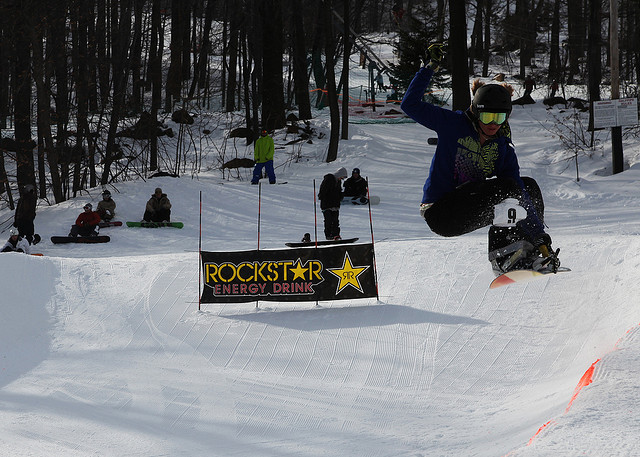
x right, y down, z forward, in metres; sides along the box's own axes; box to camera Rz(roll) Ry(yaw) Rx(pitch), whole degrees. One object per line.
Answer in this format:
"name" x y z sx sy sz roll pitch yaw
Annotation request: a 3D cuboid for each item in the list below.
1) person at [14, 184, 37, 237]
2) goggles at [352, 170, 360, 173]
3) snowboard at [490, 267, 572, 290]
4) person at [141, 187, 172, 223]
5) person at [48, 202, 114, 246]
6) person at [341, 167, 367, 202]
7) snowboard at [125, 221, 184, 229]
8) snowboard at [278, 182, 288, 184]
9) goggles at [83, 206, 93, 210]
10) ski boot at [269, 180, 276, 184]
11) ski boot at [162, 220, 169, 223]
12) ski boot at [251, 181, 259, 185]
"person" -8.316 -0.494 24.202 0.596 1.320 1.004 -5 10 -16
"goggles" 1.125 -1.786 27.031 0.175 0.134 0.177 0 13 -16
"snowboard" 3.858 0.865 15.679 1.576 0.235 0.528 1 -19 1
"person" -4.845 -0.566 25.836 0.873 1.408 0.978 0 -35 -2
"person" -6.770 -0.172 24.952 2.634 1.069 0.810 -5 -4 38
"person" 1.162 -1.364 27.434 1.013 1.286 0.914 4 18 12
"snowboard" -4.895 -0.088 25.488 1.665 0.254 0.289 -3 10 -7
"snowboard" -1.269 -1.523 29.151 0.300 0.017 0.294 -1 10 4
"goggles" -6.711 -0.606 24.779 0.174 0.117 0.368 -6 11 -24
"ski boot" -1.582 -1.575 29.104 0.151 0.135 0.364 3 11 25
"ski boot" -4.585 -0.208 25.540 0.185 0.078 0.055 -2 1 8
"ski boot" -2.218 -1.540 29.032 0.232 0.113 0.148 -4 10 -14
